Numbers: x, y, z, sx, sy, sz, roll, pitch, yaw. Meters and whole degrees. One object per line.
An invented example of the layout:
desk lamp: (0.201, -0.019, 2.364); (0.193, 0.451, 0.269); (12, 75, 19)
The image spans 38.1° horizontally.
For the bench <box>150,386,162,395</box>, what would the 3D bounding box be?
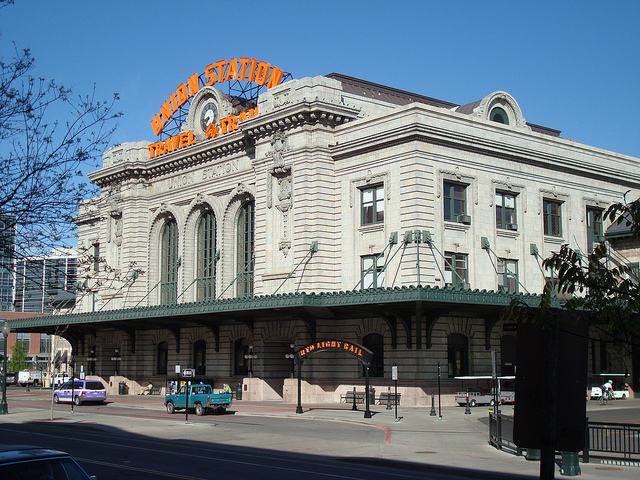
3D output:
bench: (-14.238, 13.059, 80.571); (1.032, 1.090, 0.617); (-3, -13, 15)

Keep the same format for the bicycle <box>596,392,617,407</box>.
bicycle: (19.953, 11.100, 64.667); (1.314, 0.858, 0.623); (7, -20, -17)

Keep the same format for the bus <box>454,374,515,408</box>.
bus: (10.884, 9.946, 61.664); (3.870, 2.644, 5.320); (-4, -16, 13)

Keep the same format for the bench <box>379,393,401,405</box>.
bench: (4.615, 10.298, 60.333); (1.487, 0.741, 0.625); (-4, -18, 20)

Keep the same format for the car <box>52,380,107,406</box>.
car: (-17.833, 11.231, 68.227); (4.373, 2.045, 2.031); (-13, -20, 39)
